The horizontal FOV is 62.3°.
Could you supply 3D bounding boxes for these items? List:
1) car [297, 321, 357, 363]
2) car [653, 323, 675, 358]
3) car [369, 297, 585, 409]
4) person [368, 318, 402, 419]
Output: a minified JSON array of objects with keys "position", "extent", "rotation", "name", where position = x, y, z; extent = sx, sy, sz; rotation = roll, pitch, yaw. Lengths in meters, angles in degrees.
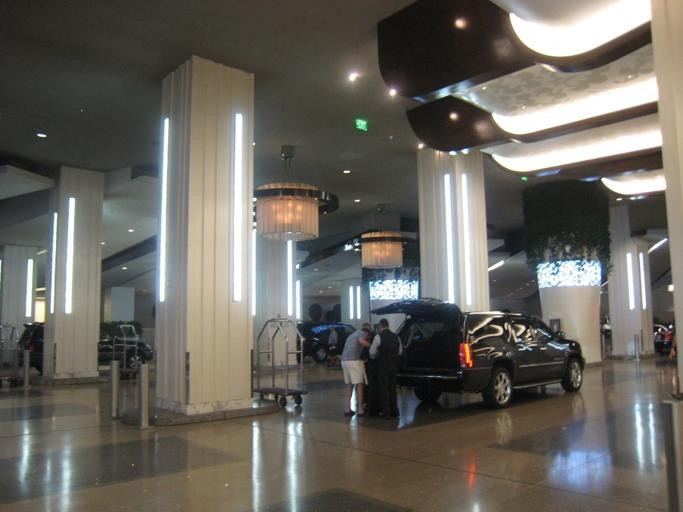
[{"position":[-0.821,4.096,26.925],"extent":[3.205,1.425,1.497],"rotation":[-2,-1,-28],"name":"car"},{"position":[15.988,4.122,27.982],"extent":[0.868,1.408,3.442],"rotation":[-6,-7,29],"name":"car"},{"position":[3.659,2.267,13.477],"extent":[5.879,2.328,2.157],"rotation":[3,-10,-39],"name":"car"},{"position":[0.883,2.232,11.357],"extent":[0.614,1.932,0.584],"rotation":[-2,-6,1],"name":"person"}]
